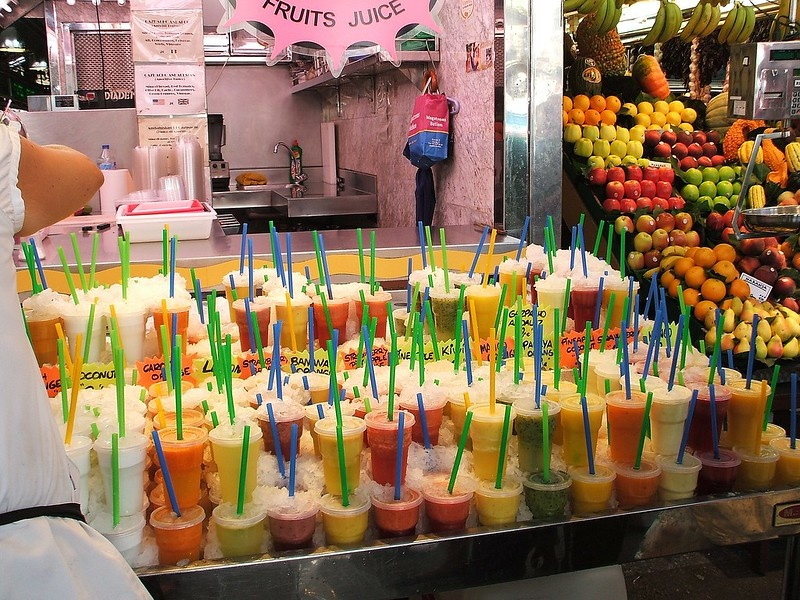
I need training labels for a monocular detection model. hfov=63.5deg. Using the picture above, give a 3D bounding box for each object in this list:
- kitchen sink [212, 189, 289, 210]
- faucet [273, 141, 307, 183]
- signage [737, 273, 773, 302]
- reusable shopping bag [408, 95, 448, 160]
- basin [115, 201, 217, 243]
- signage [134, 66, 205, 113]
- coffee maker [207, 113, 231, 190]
[{"bbox_3d":[-1.572,-1.021,6.584,0.601,0.200,0.300,-6,11,-12],"label":"kitchen sink"},{"bbox_3d":[-1.164,-1.529,7.202,0.330,0.502,0.391,4,11,14],"label":"faucet"},{"bbox_3d":[1.620,-0.059,2.950,0.095,0.097,0.010,32,-2,7],"label":"signage"},{"bbox_3d":[0.203,-1.085,4.249,0.279,0.538,0.164,5,10,33],"label":"reusable shopping bag"},{"bbox_3d":[-1.183,-0.392,3.276,0.456,0.278,0.514,-3,13,-17],"label":"basin"},{"bbox_3d":[-1.753,-1.604,4.942,0.511,0.379,0.065,-7,11,-16],"label":"signage"},{"bbox_3d":[-1.782,-1.472,6.332,0.177,0.810,1.405,-6,11,-14],"label":"coffee maker"}]
